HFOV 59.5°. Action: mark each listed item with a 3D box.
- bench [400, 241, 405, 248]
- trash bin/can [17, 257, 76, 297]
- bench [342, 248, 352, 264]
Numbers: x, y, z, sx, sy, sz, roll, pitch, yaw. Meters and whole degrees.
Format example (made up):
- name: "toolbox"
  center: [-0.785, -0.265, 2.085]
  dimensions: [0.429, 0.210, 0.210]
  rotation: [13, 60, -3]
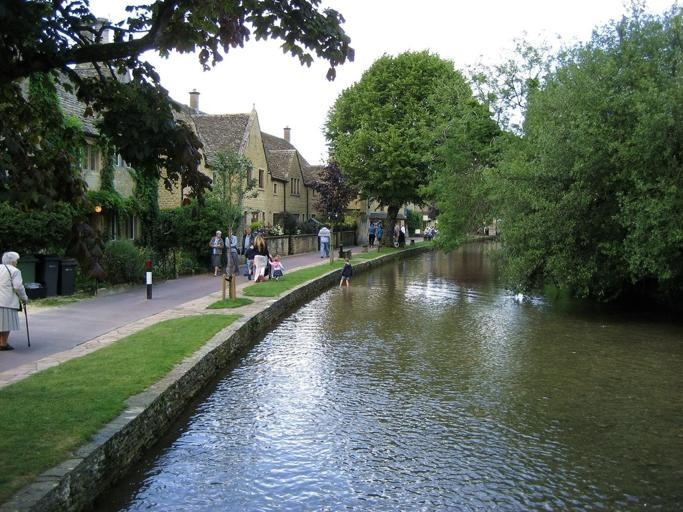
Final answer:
- name: "bench"
  center: [5.495, -1.055, 54.221]
  dimensions: [0.311, 0.270, 0.781]
  rotation: [24, 20, 4]
- name: "trash bin/can"
  center: [-9.519, 0.693, 19.391]
  dimensions: [1.748, 1.645, 1.203]
  rotation: [-4, 8, -35]
- name: "bench"
  center: [0.272, -0.029, 34.143]
  dimensions: [0.392, 0.655, 1.178]
  rotation: [-1, 3, -8]
